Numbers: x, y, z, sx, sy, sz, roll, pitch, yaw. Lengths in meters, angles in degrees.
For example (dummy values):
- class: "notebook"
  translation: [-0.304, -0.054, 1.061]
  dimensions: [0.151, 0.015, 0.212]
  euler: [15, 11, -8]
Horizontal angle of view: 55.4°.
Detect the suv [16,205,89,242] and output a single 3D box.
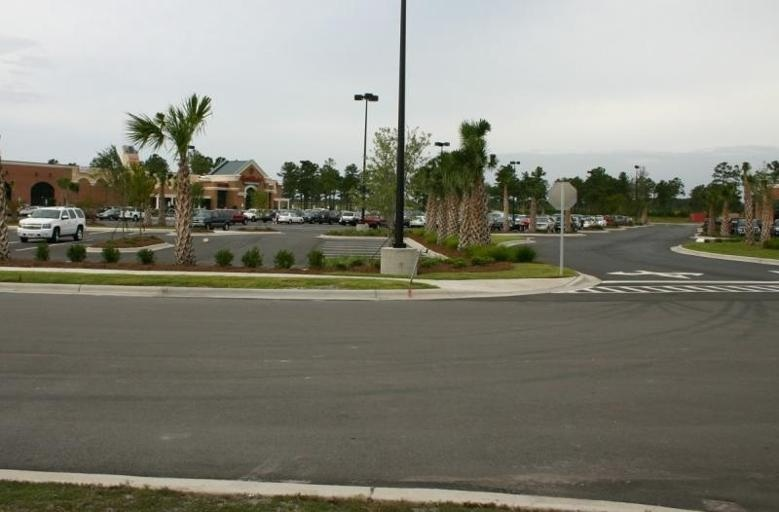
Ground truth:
- class: "suv"
  translation: [-17.868, -1.671, 39.068]
  dimensions: [1.751, 1.502, 3.394]
  euler: [-1, 0, 8]
